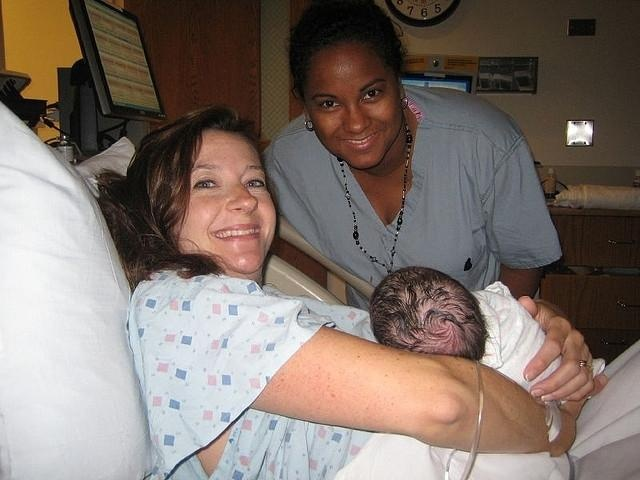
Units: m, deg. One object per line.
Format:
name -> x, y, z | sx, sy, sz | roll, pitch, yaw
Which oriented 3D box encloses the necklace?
necklace -> 0.224, -0.130, 2.131 | 0.314, 0.035, 0.752 | 11, 35, -5
